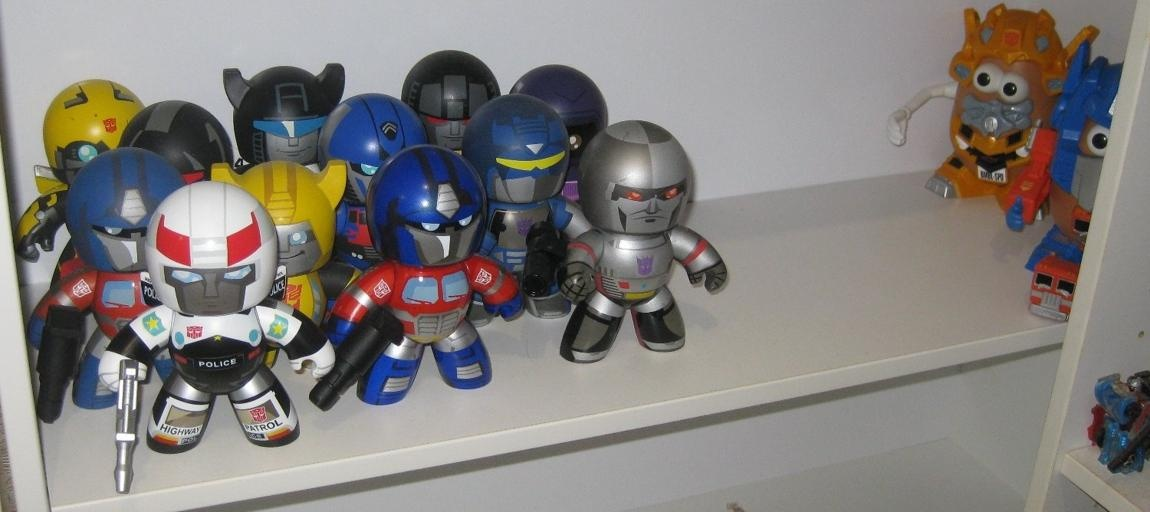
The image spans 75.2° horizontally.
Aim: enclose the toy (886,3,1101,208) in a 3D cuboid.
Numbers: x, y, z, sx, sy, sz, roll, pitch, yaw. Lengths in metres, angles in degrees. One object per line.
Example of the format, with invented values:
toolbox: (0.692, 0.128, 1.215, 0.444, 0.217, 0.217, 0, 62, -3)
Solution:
toy: (1.256, -0.466, 2.219, 0.541, 0.509, 0.300, 30, 55, 31)
